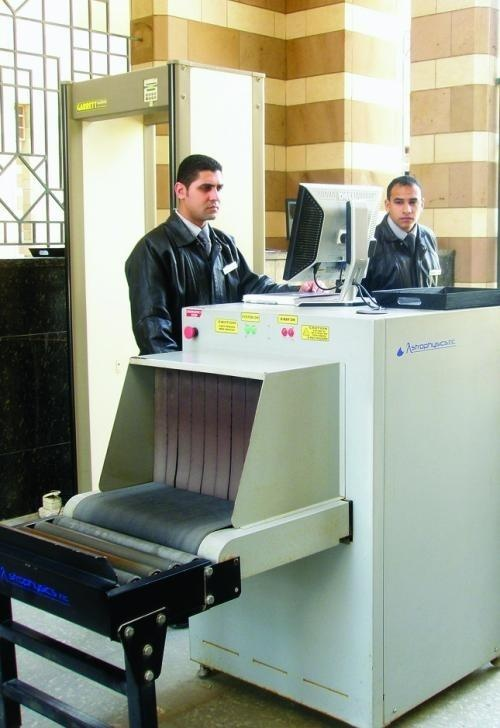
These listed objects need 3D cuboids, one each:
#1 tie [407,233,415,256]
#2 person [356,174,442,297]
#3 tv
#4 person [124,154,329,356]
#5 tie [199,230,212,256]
[{"bbox_3d":[0.944,-0.710,3.570,0.062,0.096,0.024,7,6,33],"label":"tie"},{"bbox_3d":[0.950,-0.616,3.732,0.508,0.953,0.346,-7,10,-20],"label":"person"},{"bbox_3d":[0.301,-0.409,2.055,0.262,0.381,0.447,0,9,39],"label":"tv"},{"bbox_3d":[-0.174,-0.239,2.493,0.585,1.126,0.750,12,13,44],"label":"person"},{"bbox_3d":[-0.186,-0.496,2.511,0.029,0.093,0.067,-3,-6,28],"label":"tie"}]
